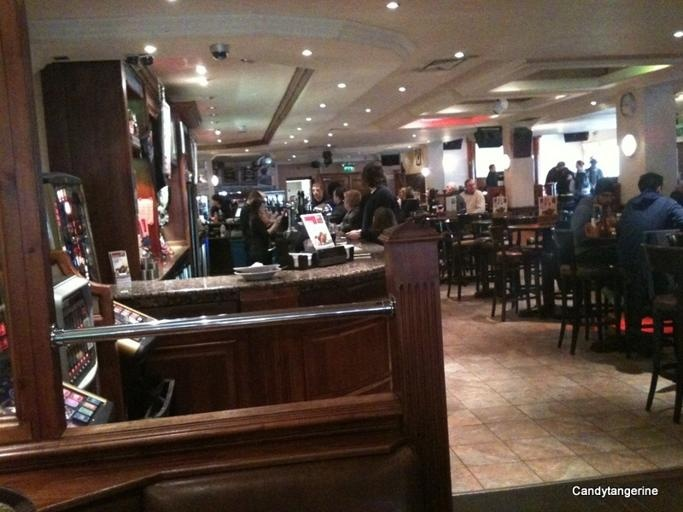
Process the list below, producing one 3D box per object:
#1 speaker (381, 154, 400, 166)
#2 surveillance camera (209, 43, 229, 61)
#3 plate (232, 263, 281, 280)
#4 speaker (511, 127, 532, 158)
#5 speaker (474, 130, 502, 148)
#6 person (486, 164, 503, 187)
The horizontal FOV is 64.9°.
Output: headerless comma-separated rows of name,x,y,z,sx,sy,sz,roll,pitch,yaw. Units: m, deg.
speaker,1.903,-3.579,20.760,0.768,0.508,0.413,-1,-3,-1
surveillance camera,-1.143,-1.941,5.062,0.182,0.119,0.178,-5,7,-11
plate,-0.519,0.096,3.332,0.266,0.076,0.284,-5,7,-13
speaker,4.467,-2.798,13.319,0.499,0.768,0.238,-3,7,8
speaker,3.712,-2.948,13.601,0.773,0.549,0.410,1,47,2
person,4.093,-2.168,14.379,0.324,0.556,0.722,0,8,29
